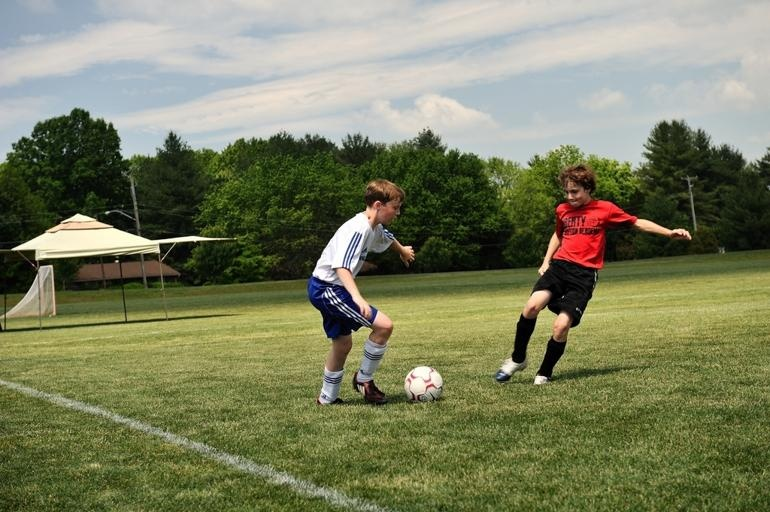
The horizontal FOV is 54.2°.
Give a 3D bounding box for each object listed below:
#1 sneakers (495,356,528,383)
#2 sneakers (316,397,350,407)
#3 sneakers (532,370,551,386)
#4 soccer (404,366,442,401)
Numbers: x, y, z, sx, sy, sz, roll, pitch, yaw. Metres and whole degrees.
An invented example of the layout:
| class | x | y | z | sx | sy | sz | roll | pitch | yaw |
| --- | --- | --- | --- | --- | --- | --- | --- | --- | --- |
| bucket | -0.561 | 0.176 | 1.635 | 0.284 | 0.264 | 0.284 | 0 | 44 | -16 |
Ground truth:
| class | x | y | z | sx | sy | sz | roll | pitch | yaw |
| --- | --- | --- | --- | --- | --- | --- | --- | --- | --- |
| sneakers | 1.734 | 1.610 | 10.693 | 0.571 | 0.241 | 0.205 | -32 | 9 | -18 |
| sneakers | -0.713 | 1.930 | 10.001 | 0.401 | 0.144 | 0.133 | -1 | 0 | 5 |
| sneakers | 2.149 | 1.712 | 10.408 | 0.169 | 0.151 | 0.174 | 5 | -13 | -38 |
| soccer | 0.491 | 1.789 | 10.132 | 0.512 | 0.500 | 0.520 | -1 | 14 | 21 |
